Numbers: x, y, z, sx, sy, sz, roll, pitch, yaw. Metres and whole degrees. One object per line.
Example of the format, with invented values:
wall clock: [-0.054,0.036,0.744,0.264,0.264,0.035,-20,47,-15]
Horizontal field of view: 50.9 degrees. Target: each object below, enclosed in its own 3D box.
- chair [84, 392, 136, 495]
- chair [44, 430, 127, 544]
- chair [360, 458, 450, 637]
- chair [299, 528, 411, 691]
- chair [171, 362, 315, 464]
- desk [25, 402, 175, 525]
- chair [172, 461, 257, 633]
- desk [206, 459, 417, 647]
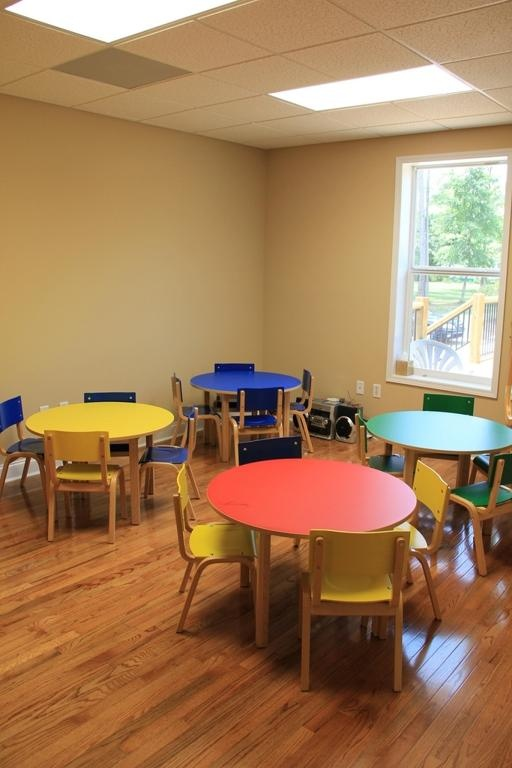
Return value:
chair: [-1.041,0.334,4.038,0.441,0.670,0.477,1,5,-1]
chair: [-1.071,0.647,3.344,0.457,0.811,0.546,1,23,-2]
chair: [0.616,0.697,2.410,0.454,0.610,0.425,-6,13,-28]
chair: [0.351,0.737,1.943,0.401,0.603,0.455,-1,8,-8]
chair: [-0.047,0.106,4.998,0.986,0.636,0.973,-9,18,-32]
desk: [-1.105,0.618,3.721,0.958,0.744,1.003,-4,9,4]
chair: [-0.176,0.739,2.420,0.444,0.635,0.443,4,13,15]
desk: [0.208,0.716,2.056,0.585,0.378,0.569,12,-22,-43]
